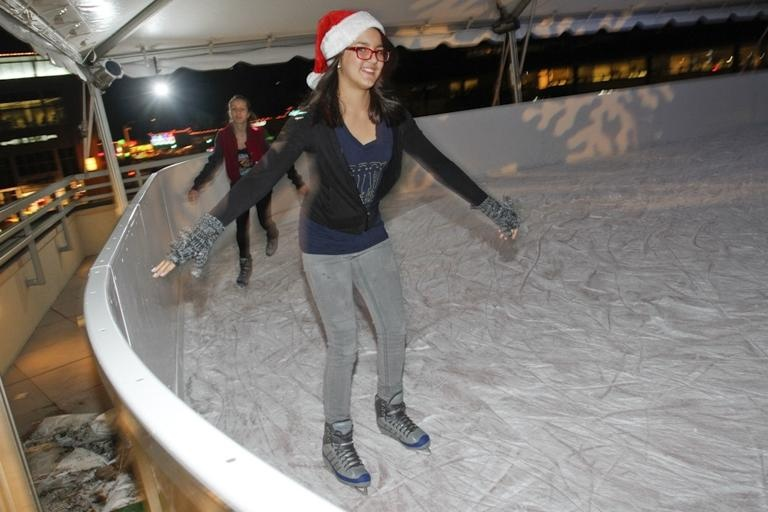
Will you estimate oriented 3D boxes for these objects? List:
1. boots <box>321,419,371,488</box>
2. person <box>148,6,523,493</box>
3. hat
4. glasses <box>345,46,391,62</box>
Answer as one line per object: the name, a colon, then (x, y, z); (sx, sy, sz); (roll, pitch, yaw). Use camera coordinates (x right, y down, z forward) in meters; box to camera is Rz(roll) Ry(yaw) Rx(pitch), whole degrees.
boots: (-0.207, 1.081, 2.507); (0.142, 0.227, 0.409); (1, 2, -35)
person: (-0.141, 0.011, 2.361); (1.513, 2.365, 0.559); (-21, 24, -33)
hat: (-0.197, -1.021, 2.254); (0.402, 0.359, 0.256); (-9, 20, -5)
glasses: (-0.055, -0.958, 2.185); (0.217, 0.079, 0.079); (-17, 22, -28)
